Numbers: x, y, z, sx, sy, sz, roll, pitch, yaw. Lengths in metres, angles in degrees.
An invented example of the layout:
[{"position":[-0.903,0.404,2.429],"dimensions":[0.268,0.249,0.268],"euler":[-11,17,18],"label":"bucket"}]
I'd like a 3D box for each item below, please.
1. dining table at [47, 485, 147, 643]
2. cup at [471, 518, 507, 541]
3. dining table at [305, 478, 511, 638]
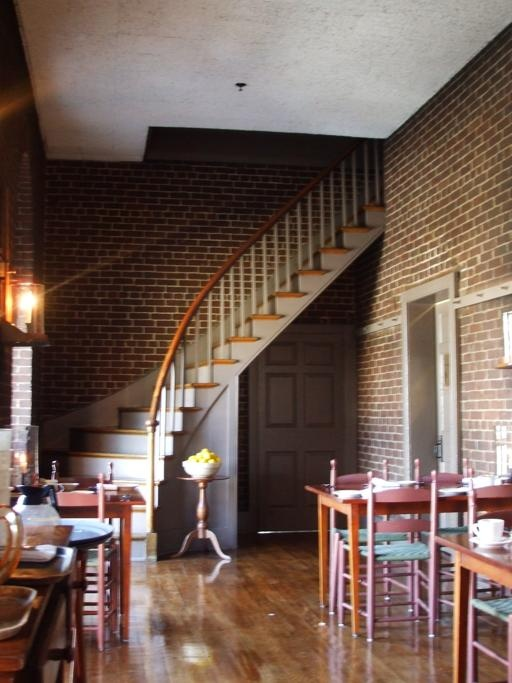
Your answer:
[{"position":[-0.920,1.179,3.271],"dimensions":[0.289,0.623,0.295],"euler":[-21,-12,-15],"label":"dining table"},{"position":[0.832,0.682,2.295],"dimensions":[0.139,0.092,0.105],"euler":[-4,-3,12],"label":"cup"},{"position":[0.820,1.285,3.479],"dimensions":[1.192,0.763,0.903],"euler":[0,-5,-12],"label":"dining table"}]
